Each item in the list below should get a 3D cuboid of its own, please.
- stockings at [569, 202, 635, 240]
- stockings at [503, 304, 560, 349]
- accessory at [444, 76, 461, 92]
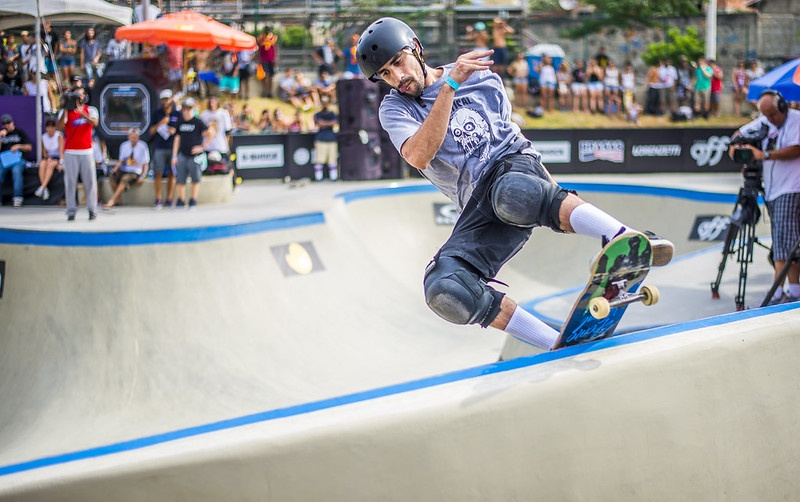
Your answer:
[{"bbox_3d":[2.383,-0.310,11.285,0.645,0.401,0.332,37,10,9],"label":"stockings"},{"bbox_3d":[1.665,1.003,11.915,0.744,0.419,0.328,32,3,-20],"label":"stockings"},{"bbox_3d":[0.633,-2.027,11.353,0.163,0.113,0.162,44,-3,-20],"label":"accessory"}]
